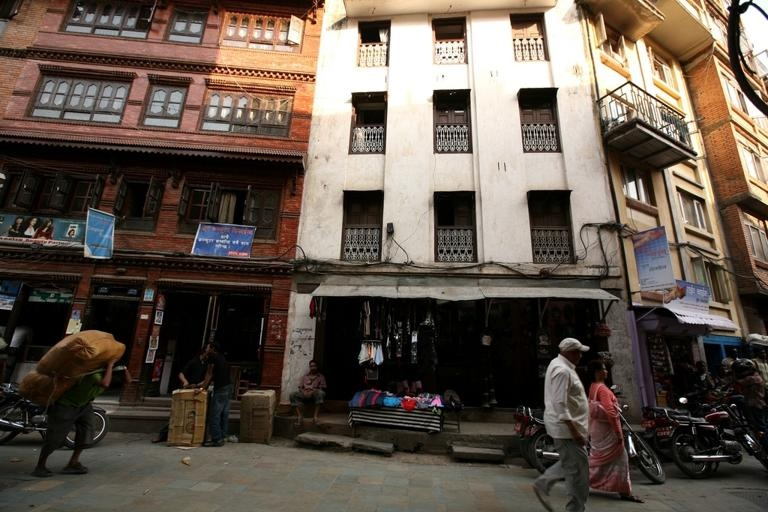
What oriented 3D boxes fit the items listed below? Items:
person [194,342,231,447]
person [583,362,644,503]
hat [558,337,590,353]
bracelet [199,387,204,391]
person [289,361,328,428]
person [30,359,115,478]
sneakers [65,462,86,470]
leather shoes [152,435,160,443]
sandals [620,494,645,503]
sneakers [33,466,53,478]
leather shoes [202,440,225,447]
[{"bbox_3d":[-4.654,3.767,12.557,0.824,2.741,0.652,7,-18,-16],"label":"person"},{"bbox_3d":[4.970,3.784,10.201,0.786,2.849,0.735,-4,-18,20],"label":"person"},{"bbox_3d":[4.122,1.897,9.708,0.670,0.214,0.394,-1,-4,4],"label":"hat"},{"bbox_3d":[-4.998,3.625,12.427,0.087,0.074,0.039,0,-56,-5],"label":"bracelet"},{"bbox_3d":[-2.278,4.138,13.963,1.026,1.872,0.847,0,-17,7],"label":"person"},{"bbox_3d":[-7.025,3.643,10.262,1.290,2.450,0.887,6,-17,-13],"label":"person"},{"bbox_3d":[-6.941,4.757,10.267,0.397,0.139,0.193,5,-9,-3],"label":"sneakers"},{"bbox_3d":[-6.313,5.055,12.525,0.293,0.110,0.170,-11,-19,42],"label":"leather shoes"},{"bbox_3d":[5.459,5.326,10.011,0.423,0.095,0.173,-4,-3,23],"label":"sandals"},{"bbox_3d":[-7.538,4.740,10.027,0.434,0.171,0.194,2,-12,-5],"label":"sneakers"},{"bbox_3d":[-4.606,5.048,12.278,0.520,0.184,0.157,6,-10,-6],"label":"leather shoes"}]
